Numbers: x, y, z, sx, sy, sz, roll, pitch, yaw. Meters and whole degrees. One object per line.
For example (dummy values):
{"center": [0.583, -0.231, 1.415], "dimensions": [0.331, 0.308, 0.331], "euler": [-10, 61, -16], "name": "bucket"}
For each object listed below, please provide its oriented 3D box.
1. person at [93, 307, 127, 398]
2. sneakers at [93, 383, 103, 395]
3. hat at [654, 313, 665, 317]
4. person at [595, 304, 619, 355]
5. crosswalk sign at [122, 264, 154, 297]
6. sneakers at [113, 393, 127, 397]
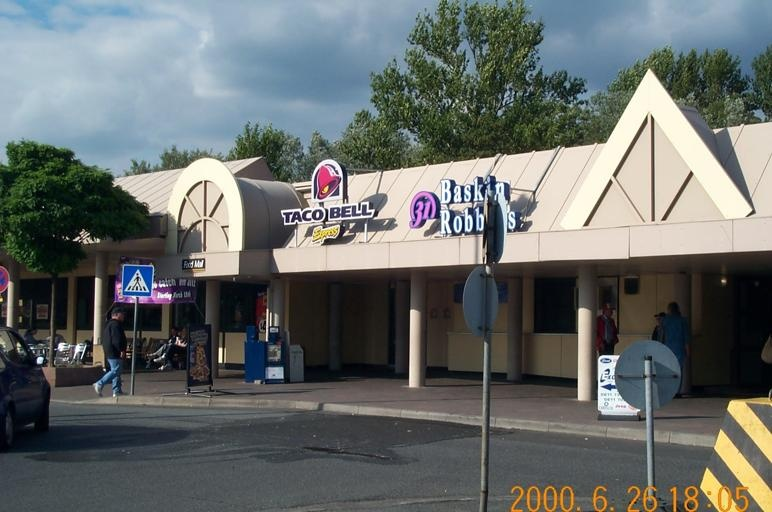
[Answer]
{"center": [-7.835, 2.732, 24.169], "dimensions": [0.780, 2.509, 1.184], "euler": [0, -3, -21], "name": "person"}
{"center": [-8.320, 3.826, 24.572], "dimensions": [0.179, 0.475, 0.152], "euler": [-5, 19, 6], "name": "sneakers"}
{"center": [8.019, 1.712, 24.851], "dimensions": [0.333, 0.124, 0.226], "euler": [-3, -3, 16], "name": "hat"}
{"center": [6.398, 2.149, 24.867], "dimensions": [0.457, 1.430, 1.014], "euler": [-4, -4, 44], "name": "person"}
{"center": [-7.153, 0.689, 24.461], "dimensions": [0.827, 1.038, 0.106], "euler": [0, 1, -11], "name": "crosswalk sign"}
{"center": [-7.610, 3.954, 24.282], "dimensions": [0.391, 0.189, 0.141], "euler": [1, -3, -5], "name": "sneakers"}
